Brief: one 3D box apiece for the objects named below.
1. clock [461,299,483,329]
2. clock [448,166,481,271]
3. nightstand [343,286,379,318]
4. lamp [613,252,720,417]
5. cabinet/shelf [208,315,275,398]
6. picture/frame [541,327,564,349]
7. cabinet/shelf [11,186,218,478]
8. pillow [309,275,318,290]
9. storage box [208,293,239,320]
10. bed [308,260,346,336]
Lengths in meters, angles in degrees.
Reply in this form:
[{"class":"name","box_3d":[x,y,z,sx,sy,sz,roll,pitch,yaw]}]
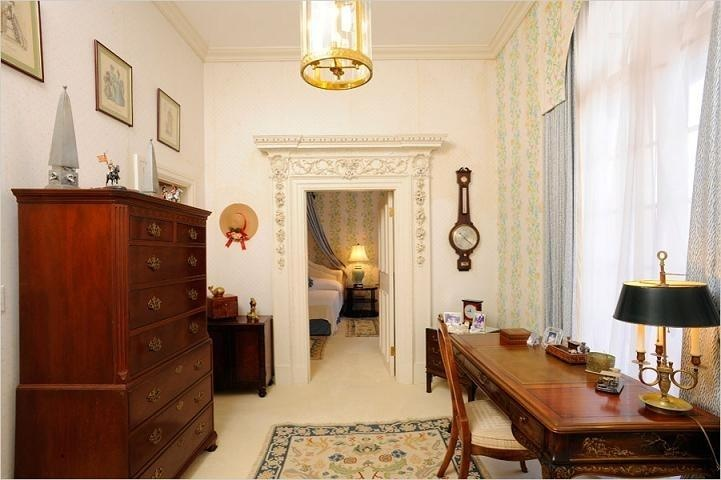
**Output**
[{"class":"clock","box_3d":[1.201,0.812,5.406,0.134,0.336,0.214,9,-11,-41]},{"class":"clock","box_3d":[1.202,-0.227,5.829,0.346,1.179,0.284,-9,15,-34]},{"class":"nightstand","box_3d":[-0.007,1.160,9.456,0.530,0.413,0.579,1,-5,2]},{"class":"lamp","box_3d":[2.052,0.610,3.402,0.559,1.059,0.499,-7,14,-28]},{"class":"cabinet/shelf","box_3d":[-1.248,1.194,5.650,0.917,0.996,0.694,-1,-4,-3]},{"class":"picture/frame","box_3d":[1.648,0.835,4.317,0.159,0.226,0.158,-2,-17,37]},{"class":"cabinet/shelf","box_3d":[-1.851,0.800,3.759,1.423,2.369,0.873,-6,14,-25]},{"class":"pillow","box_3d":[-0.882,0.774,9.008,0.144,0.164,0.183,4,-8,-43]},{"class":"storage box","box_3d":[-1.497,0.740,5.496,0.248,0.199,0.264,0,-4,-18]},{"class":"bed","box_3d":[-0.568,1.077,8.482,0.592,0.721,1.080,-1,11,0]}]
